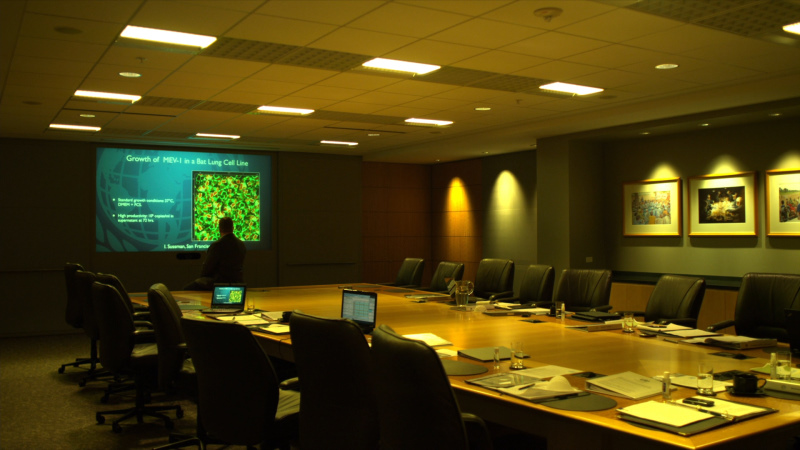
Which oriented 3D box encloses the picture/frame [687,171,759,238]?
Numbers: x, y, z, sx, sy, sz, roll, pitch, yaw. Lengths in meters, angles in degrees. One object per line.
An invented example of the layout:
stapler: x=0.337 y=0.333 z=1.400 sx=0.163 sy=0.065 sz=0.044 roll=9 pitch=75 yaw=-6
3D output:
picture/frame: x=5.347 y=-0.339 z=8.633 sx=1.342 sy=1.143 sz=0.107 roll=-1 pitch=-5 yaw=44

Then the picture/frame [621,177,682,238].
picture/frame: x=4.566 y=-0.314 z=9.466 sx=1.314 sy=1.119 sz=0.132 roll=-2 pitch=-3 yaw=45

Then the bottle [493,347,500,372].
bottle: x=0.759 y=1.056 z=4.140 sx=0.056 sy=0.163 sz=0.189 roll=-2 pitch=9 yaw=10

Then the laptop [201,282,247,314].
laptop: x=-2.044 y=0.878 z=6.167 sx=0.521 sy=0.249 sz=0.346 roll=-1 pitch=-13 yaw=6

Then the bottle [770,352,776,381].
bottle: x=2.781 y=1.056 z=3.911 sx=0.038 sy=0.175 sz=0.108 roll=3 pitch=12 yaw=33

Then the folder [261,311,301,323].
folder: x=-1.170 y=0.908 z=5.100 sx=0.400 sy=0.076 sz=0.335 roll=3 pitch=-4 yaw=-33

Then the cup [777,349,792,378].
cup: x=2.861 y=1.056 z=3.918 sx=0.096 sy=0.168 sz=0.174 roll=4 pitch=12 yaw=37
